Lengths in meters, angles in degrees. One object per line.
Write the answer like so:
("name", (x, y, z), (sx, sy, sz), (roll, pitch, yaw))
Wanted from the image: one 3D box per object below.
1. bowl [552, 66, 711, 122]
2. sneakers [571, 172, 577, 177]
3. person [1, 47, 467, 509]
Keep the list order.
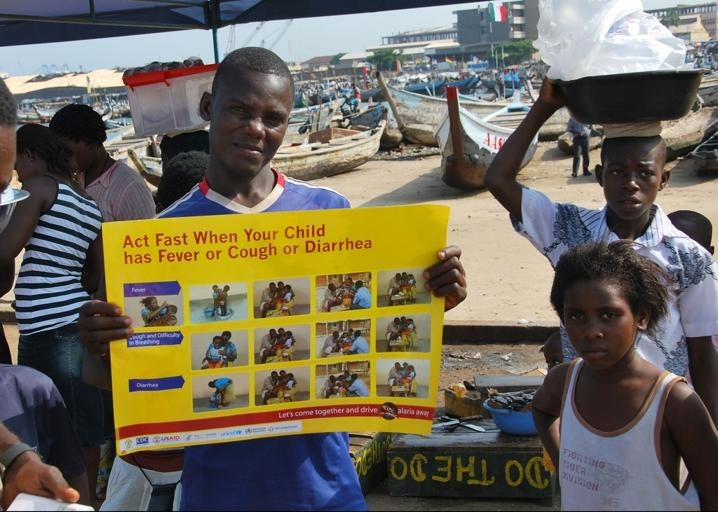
("bowl", (1.311, -0.769, 3.811), (0.740, 0.253, 0.557), (-16, 16, -42))
("sneakers", (5.160, -1.947, 18.710), (0.063, 0.115, 0.124), (-1, -8, 1))
("person", (-0.410, 0.132, 3.320), (1.496, 1.947, 0.857), (-14, 20, -24))
